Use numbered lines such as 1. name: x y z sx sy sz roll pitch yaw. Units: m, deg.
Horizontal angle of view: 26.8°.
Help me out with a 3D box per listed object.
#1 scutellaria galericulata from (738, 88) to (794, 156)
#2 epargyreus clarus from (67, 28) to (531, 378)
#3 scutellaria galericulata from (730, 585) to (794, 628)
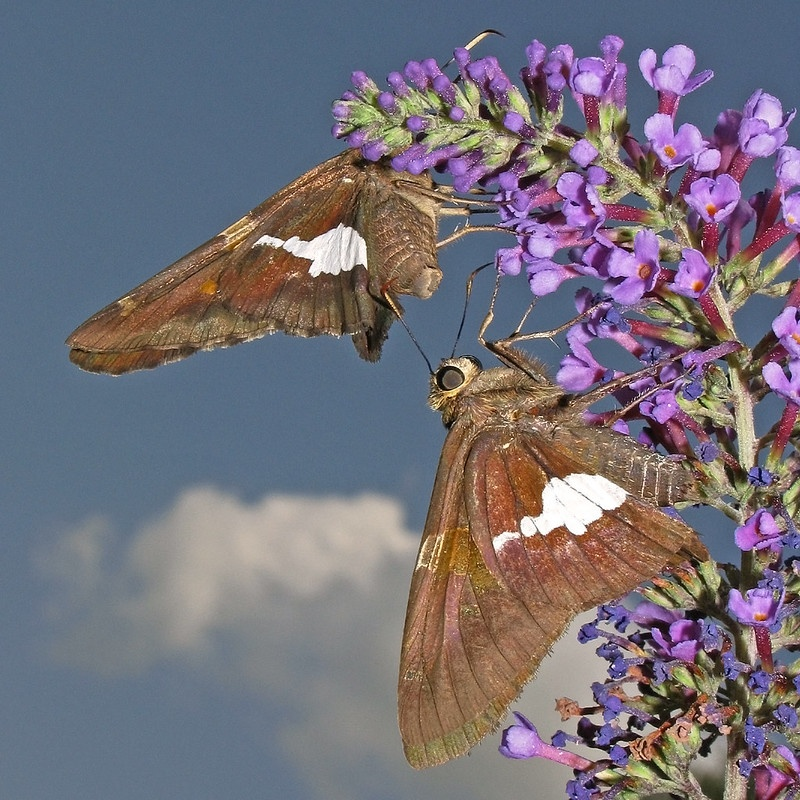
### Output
1. scutellaria galericulata: 1.464 -1.105 6.822 0.200 0.265 0.198 10 -1 8
2. epargyreus clarus: -0.520 -1.039 8.394 1.734 1.774 1.902 -2 0 -32
3. scutellaria galericulata: 1.428 0.854 6.847 0.213 0.156 0.204 10 -1 13
